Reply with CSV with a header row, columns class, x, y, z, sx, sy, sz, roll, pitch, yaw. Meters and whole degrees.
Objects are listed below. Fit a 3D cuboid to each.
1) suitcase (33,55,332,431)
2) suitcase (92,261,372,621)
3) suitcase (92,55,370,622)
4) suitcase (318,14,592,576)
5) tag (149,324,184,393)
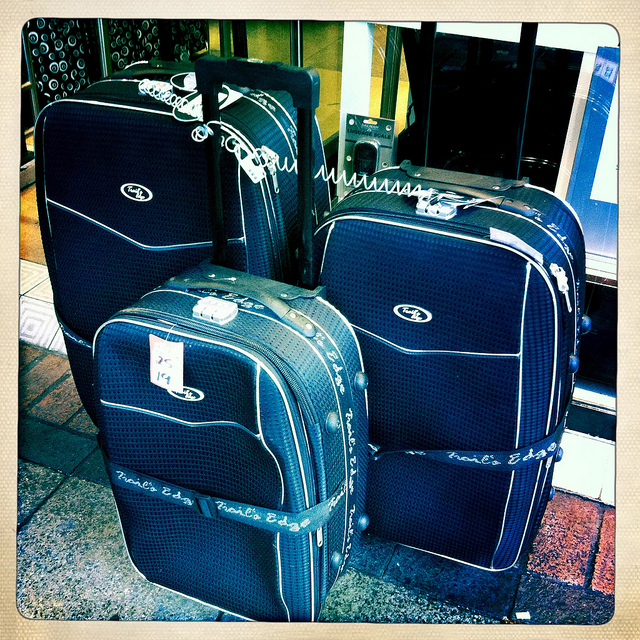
class,x,y,z,sx,sy,sz,roll,pitch,yaw
suitcase,-0.214,-0.141,1.008,0.441,0.698,0.259,21,41,17
suitcase,-0.157,0.215,1.103,0.445,0.646,0.311,10,31,15
suitcase,-0.136,0.063,0.993,0.407,0.893,0.260,10,26,18
suitcase,0.249,-0.011,1.079,0.449,0.944,0.348,11,26,20
tag,-0.226,0.053,0.895,0.066,0.119,0.012,20,36,19
